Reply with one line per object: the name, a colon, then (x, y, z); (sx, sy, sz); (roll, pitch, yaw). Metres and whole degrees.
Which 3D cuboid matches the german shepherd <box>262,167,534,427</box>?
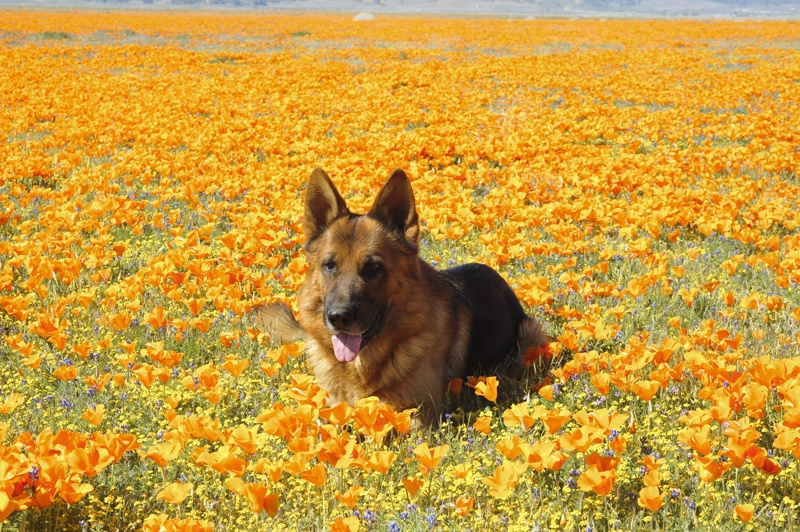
german shepherd: (0.149, 0.394, 8.086); (2.553, 1.914, 2.636); (0, 12, 38)
